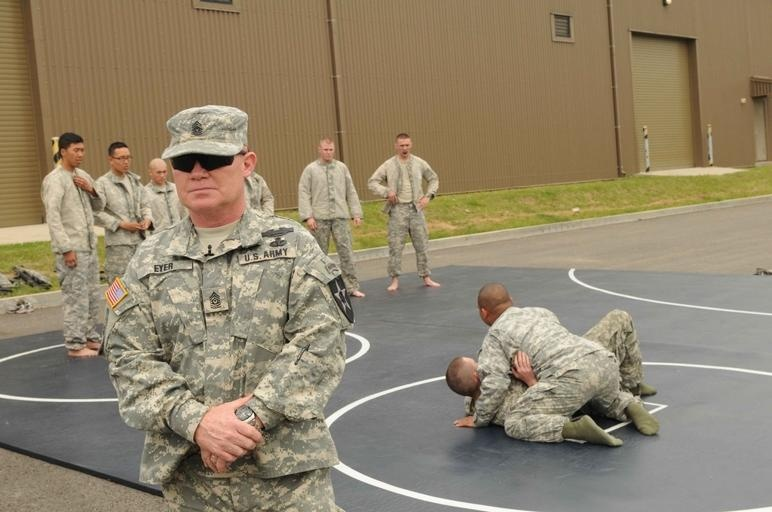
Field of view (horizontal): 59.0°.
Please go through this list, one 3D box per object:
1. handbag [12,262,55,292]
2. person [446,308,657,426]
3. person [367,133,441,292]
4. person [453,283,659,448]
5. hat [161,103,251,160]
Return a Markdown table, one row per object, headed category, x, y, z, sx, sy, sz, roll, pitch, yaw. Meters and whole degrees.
| category | x | y | z | sx | sy | sz | roll | pitch | yaw |
| --- | --- | --- | --- | --- | --- | --- | --- | --- | --- |
| handbag | -7.703 | 0.409 | 14.867 | 0.705 | 0.217 | 0.480 | 22 | 2 | -10 |
| person | 1.364 | 0.684 | 6.352 | 1.153 | 0.899 | 1.613 | 2 | 14 | 44 |
| person | 0.388 | -0.845 | 13.286 | 1.258 | 2.983 | 0.846 | -3 | 8 | -1 |
| person | 1.445 | 1.151 | 6.303 | 1.413 | 0.811 | 1.527 | -15 | 20 | -42 |
| hat | -0.996 | -0.751 | 4.074 | 0.306 | 0.210 | 0.414 | -1 | 2 | 12 |
